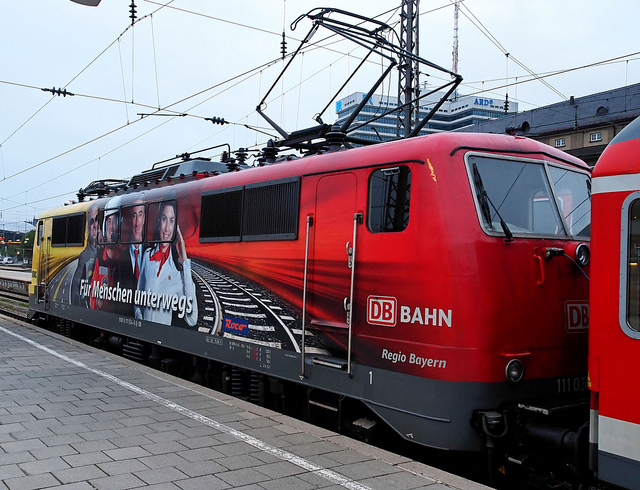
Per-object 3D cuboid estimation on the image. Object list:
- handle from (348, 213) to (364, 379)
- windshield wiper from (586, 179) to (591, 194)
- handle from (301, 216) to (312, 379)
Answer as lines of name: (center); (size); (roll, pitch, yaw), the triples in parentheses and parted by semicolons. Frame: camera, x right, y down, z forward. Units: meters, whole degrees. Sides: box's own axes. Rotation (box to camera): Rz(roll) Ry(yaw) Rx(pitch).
handle: (0.378, 0.533, 6.340); (0.278, 1.697, 0.252); (2, 4, -12)
windshield wiper: (3.454, -0.756, 6.824); (0.036, 0.193, 0.049); (-5, -4, 2)
handle: (-0.186, 0.563, 6.975); (0.206, 1.695, 0.245); (-2, 4, -33)
